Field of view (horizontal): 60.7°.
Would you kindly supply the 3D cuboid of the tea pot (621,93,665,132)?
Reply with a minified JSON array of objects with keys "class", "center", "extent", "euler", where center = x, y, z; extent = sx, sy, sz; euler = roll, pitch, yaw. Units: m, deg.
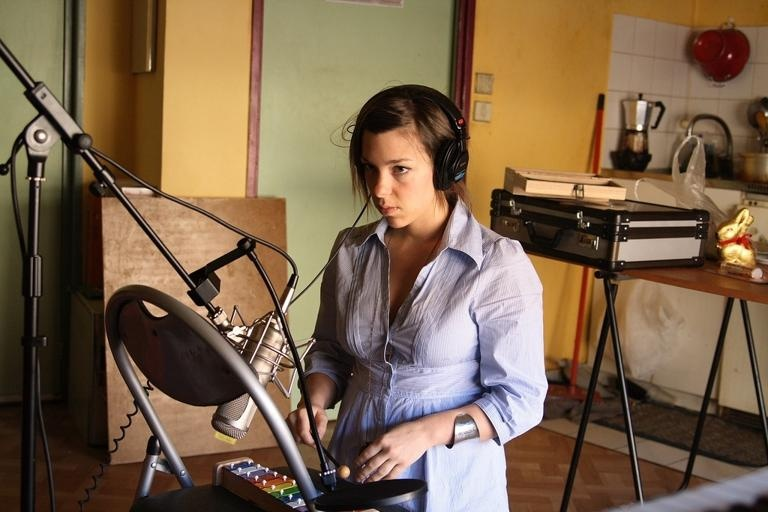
[{"class":"tea pot","center":[1.893,-1.019,4.772],"extent":[0.376,0.308,0.269],"euler":[0,11,-8]}]

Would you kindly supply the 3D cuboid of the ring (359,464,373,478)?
[{"class":"ring","center":[-0.052,0.618,1.898],"extent":[0.038,0.041,0.007],"euler":[4,11,24]}]

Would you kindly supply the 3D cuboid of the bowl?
[{"class":"bowl","center":[2.433,-1.481,4.793],"extent":[0.417,0.415,0.247],"euler":[5,12,28]}]

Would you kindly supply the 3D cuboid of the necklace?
[{"class":"necklace","center":[0.100,0.079,2.222],"extent":[0.158,0.312,0.073],"euler":[0,-17,28]}]
